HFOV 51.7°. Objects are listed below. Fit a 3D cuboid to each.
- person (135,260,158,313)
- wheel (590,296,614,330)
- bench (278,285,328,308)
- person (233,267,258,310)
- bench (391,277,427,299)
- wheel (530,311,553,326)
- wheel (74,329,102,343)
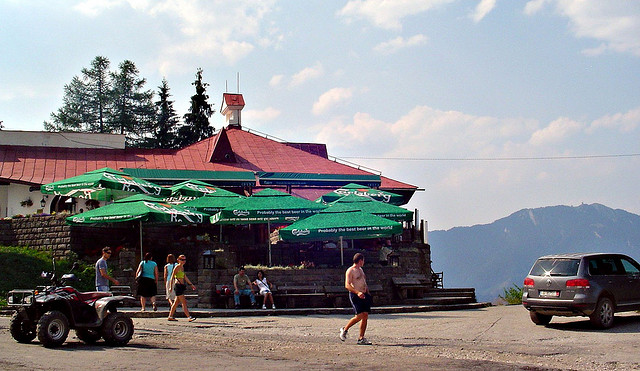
[{"bbox_3d":[-7.618,4.225,28.730,1.048,2.451,0.855,1,-18,-15],"label":"person"},{"bbox_3d":[10.798,4.856,25.341,1.330,1.217,0.466,4,-10,-39],"label":"wheel"},{"bbox_3d":[-0.867,5.355,32.334,2.355,1.071,0.920,-2,-10,-2],"label":"bench"},{"bbox_3d":[-3.590,4.806,31.211,1.061,1.921,0.608,-1,-10,-9],"label":"person"},{"bbox_3d":[4.671,5.239,34.265,0.985,1.118,1.810,-11,-13,42],"label":"bench"},{"bbox_3d":[8.923,5.324,26.657,0.771,0.537,0.672,-5,-10,14],"label":"wheel"},{"bbox_3d":[-8.138,5.221,23.118,0.681,0.187,0.646,1,-12,0],"label":"wheel"}]
